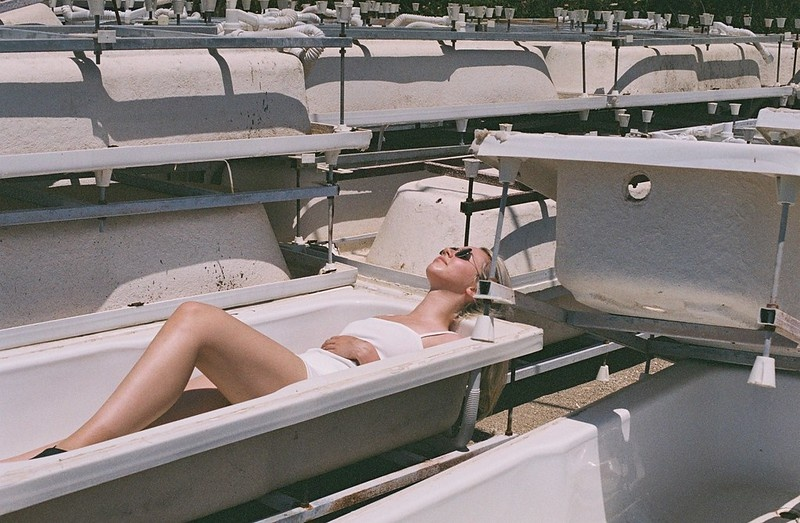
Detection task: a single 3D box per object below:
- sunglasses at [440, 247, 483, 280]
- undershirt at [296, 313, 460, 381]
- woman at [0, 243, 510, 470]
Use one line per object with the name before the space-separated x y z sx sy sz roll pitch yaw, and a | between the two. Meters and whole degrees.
sunglasses | 0.302 -0.004 3.632 0.160 0.165 0.052 5 36 30
undershirt | -0.149 0.374 3.452 0.570 0.184 0.279 -6 15 -36
woman | -0.333 0.395 3.789 2.959 1.009 0.815 1 -4 -24
